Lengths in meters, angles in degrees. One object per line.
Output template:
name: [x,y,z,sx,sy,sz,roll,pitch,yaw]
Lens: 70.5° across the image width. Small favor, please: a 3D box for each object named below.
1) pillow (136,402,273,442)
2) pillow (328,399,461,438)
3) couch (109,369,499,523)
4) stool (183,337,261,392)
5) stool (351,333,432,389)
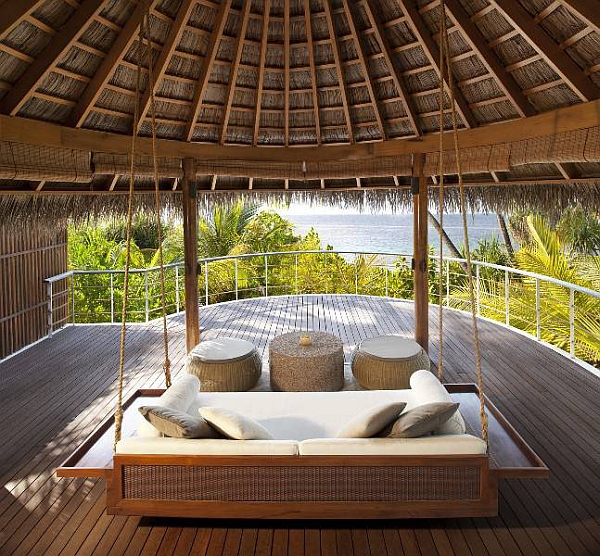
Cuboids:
pillow: [-0.468,0.700,2.209,0.499,0.187,0.505,2,5,28]
pillow: [0.474,0.679,2.169,0.495,0.238,0.414,-1,3,-26]
couch: [0.020,0.928,2.341,1.818,0.616,0.777,0,8,3]
stool: [-0.669,0.773,3.783,0.603,0.288,0.588,-10,15,-35]
stool: [0.735,0.682,3.769,0.668,0.383,0.635,-1,6,0]
